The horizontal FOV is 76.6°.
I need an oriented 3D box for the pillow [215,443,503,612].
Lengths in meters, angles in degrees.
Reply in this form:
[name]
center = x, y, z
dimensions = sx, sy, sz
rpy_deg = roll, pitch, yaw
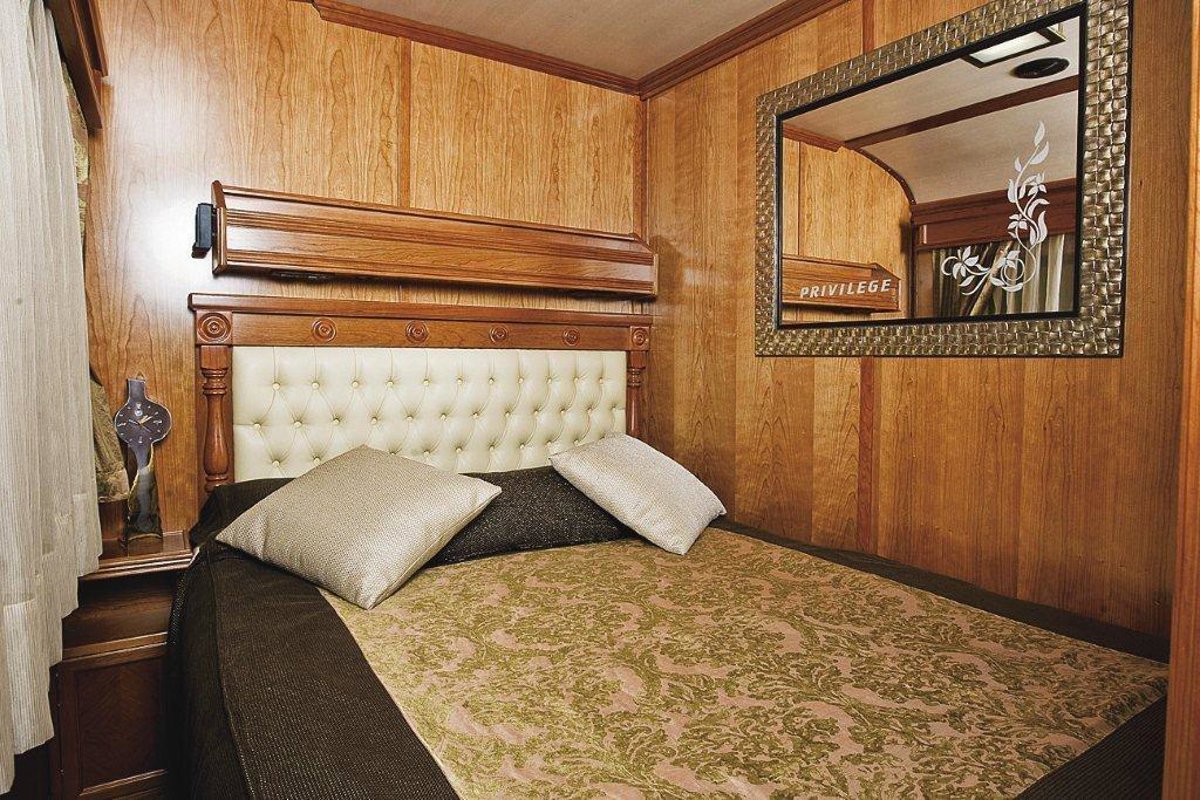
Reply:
[pillow]
center = -0.909, 0.416, 2.650
dimensions = 0.581, 0.159, 0.617
rpy_deg = 15, 26, 25
